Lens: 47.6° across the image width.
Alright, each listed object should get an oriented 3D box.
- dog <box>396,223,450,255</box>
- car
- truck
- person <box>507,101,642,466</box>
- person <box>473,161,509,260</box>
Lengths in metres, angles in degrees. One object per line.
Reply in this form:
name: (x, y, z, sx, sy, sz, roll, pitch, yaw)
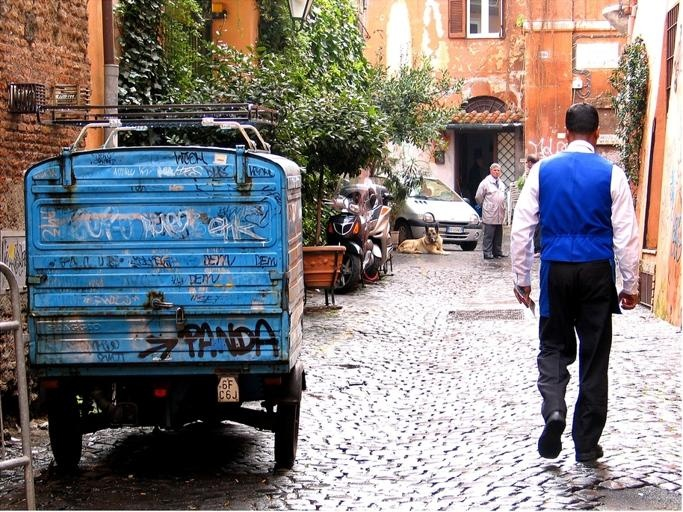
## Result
dog: (2.281, -0.481, 22.703, 1.131, 0.576, 0.702, -7, -4, 31)
car: (2.943, -1.429, 24.063, 1.924, 1.831, 3.558, 1, -2, -22)
truck: (-1.397, 0.177, 6.578, 2.076, 3.030, 1.869, -1, 6, -1)
person: (1.687, 0.355, 5.706, 0.890, 2.281, 0.682, 1, 7, 20)
person: (4.068, -1.272, 21.137, 0.745, 2.582, 1.073, 0, 6, 12)
